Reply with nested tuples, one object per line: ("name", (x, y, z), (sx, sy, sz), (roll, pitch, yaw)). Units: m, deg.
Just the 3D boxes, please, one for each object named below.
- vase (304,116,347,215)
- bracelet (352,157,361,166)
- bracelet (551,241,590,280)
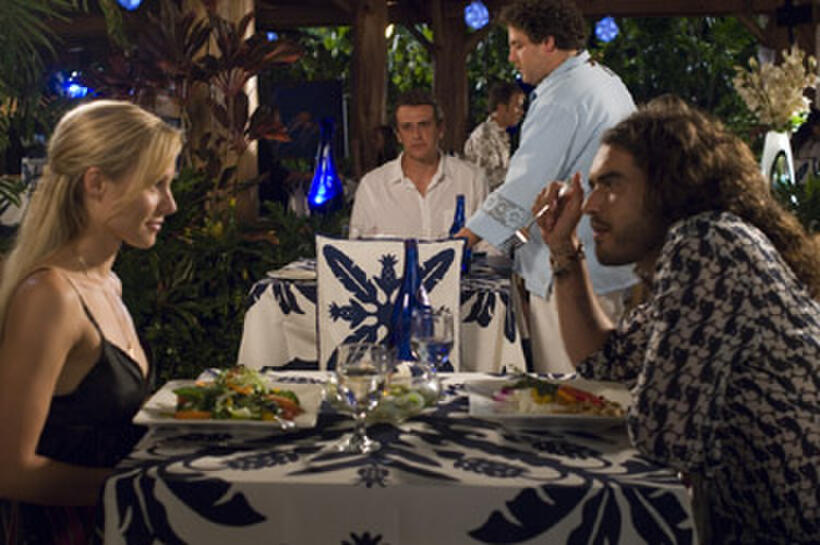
("vase", (-0.658, -0.840, 5.642), (0.280, 0.855, 0.617), (3, -3, -6))
("bracelet", (-0.562, -1.187, 7.600), (0.085, 0.083, 0.021), (-4, -26, 7))
("bracelet", (0.487, -0.031, 2.260), (0.083, 0.065, 0.113), (-44, 3, -34))
